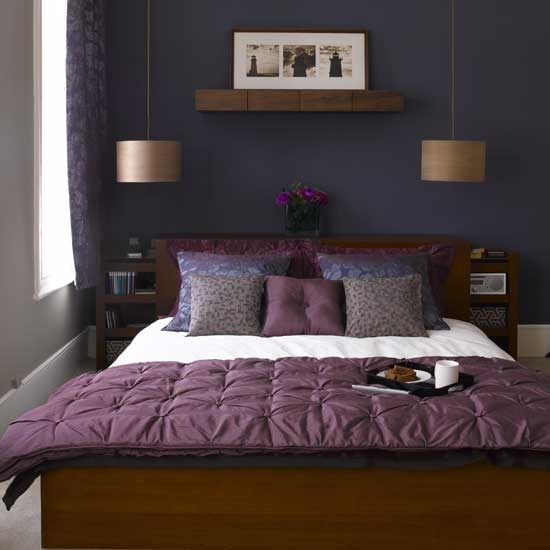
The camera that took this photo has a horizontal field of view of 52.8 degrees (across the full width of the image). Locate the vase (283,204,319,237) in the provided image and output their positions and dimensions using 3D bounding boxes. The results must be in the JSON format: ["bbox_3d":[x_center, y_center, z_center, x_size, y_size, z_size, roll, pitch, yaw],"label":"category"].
[{"bbox_3d":[0.192,-0.378,3.955,0.238,0.203,0.224,1,-1,1],"label":"vase"}]

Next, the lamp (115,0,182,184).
[{"bbox_3d":[-0.944,-1.301,3.834,0.422,1.331,0.805,-6,10,-15],"label":"lamp"}]

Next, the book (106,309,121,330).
[{"bbox_3d":[-1.170,0.320,3.970,0.103,0.115,0.038,2,3,-20],"label":"book"}]

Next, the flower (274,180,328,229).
[{"bbox_3d":[0.229,-0.450,3.948,0.393,0.319,0.300,1,10,26],"label":"flower"}]

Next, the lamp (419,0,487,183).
[{"bbox_3d":[1.188,-1.285,3.747,0.468,1.321,0.956,1,10,20],"label":"lamp"}]

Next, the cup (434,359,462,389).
[{"bbox_3d":[0.607,0.349,1.967,0.096,0.094,0.093,0,-1,0],"label":"cup"}]
